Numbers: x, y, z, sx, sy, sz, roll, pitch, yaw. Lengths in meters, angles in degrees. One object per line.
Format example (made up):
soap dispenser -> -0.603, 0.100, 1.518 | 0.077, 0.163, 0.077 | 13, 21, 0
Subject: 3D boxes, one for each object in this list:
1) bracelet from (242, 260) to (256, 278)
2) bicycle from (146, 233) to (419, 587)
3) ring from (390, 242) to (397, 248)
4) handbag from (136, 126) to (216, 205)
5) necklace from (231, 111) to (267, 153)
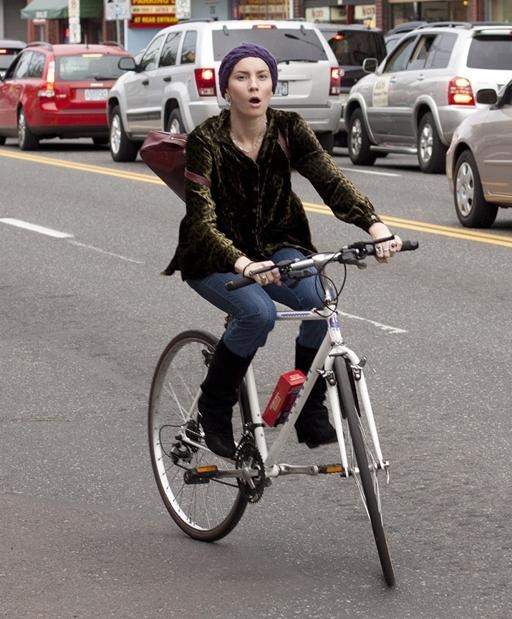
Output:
bracelet -> -0.018, -0.099, 1.463 | 0.012, 0.040, 0.030 | 9, -24, 14
bicycle -> -0.029, 0.293, 1.954 | 0.642, 0.834, 1.373 | 3, -6, -28
ring -> 0.359, -0.171, 1.578 | 0.017, 0.015, 0.005 | -4, 2, -4
handbag -> -0.283, -0.484, 2.013 | 0.109, 0.279, 0.229 | -22, -5, 3
necklace -> -0.026, -0.528, 1.827 | 0.098, 0.129, 0.099 | -2, -5, -5
